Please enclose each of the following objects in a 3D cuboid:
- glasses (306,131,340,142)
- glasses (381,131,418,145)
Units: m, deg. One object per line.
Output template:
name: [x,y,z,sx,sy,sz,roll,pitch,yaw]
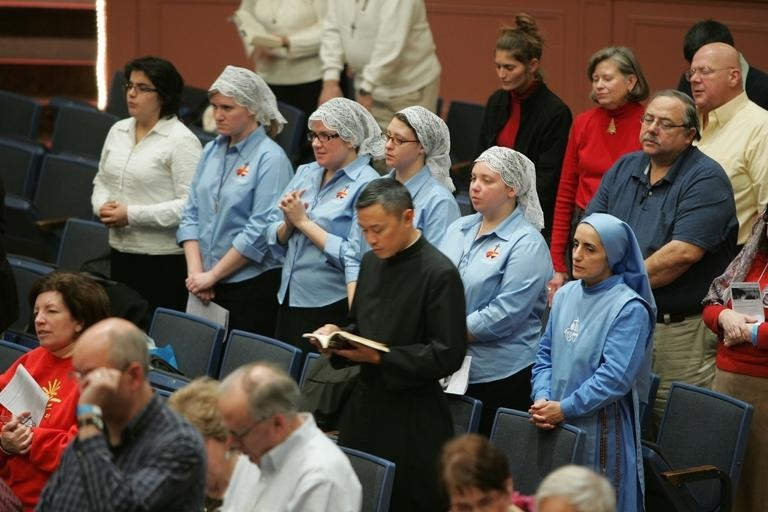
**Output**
glasses: [-0.425,-0.785,5.604,0.123,0.083,0.324,2,3,-35]
glasses: [0.110,-0.724,5.317,0.130,0.041,0.128,11,0,-27]
